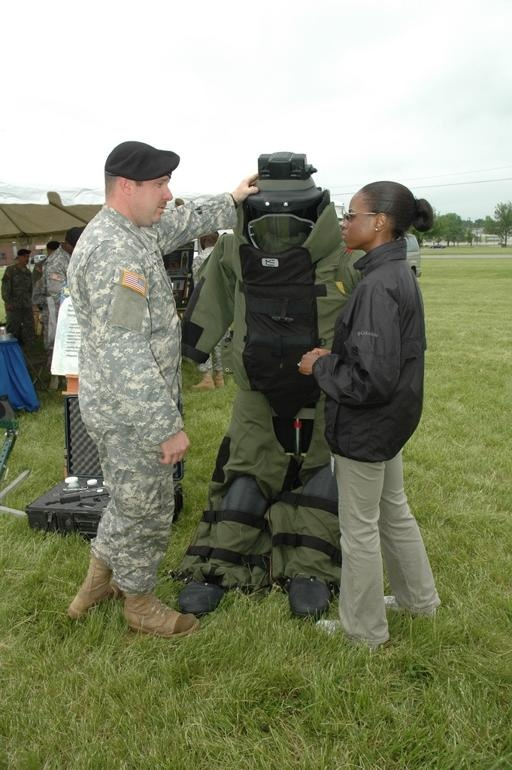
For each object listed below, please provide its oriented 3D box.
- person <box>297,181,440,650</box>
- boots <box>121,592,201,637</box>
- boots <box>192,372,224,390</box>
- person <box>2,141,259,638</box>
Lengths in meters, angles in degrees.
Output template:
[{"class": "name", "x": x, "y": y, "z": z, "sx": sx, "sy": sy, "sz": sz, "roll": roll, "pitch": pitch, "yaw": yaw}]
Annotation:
[{"class": "person", "x": 0.418, "y": 0.118, "z": 2.171, "sx": 0.403, "sy": 1.687, "sz": 0.520, "roll": 5, "pitch": 10, "yaw": 32}, {"class": "boots", "x": -0.360, "y": 0.891, "z": 2.362, "sx": 0.331, "sy": 0.213, "sz": 0.136, "roll": 1, "pitch": 10, "yaw": -5}, {"class": "boots", "x": -0.628, "y": -0.055, "z": 7.161, "sx": 0.440, "sy": 0.300, "sz": 0.149, "roll": 2, "pitch": 3, "yaw": -6}, {"class": "person", "x": -0.491, "y": 0.054, "z": 2.249, "sx": 0.497, "sy": 1.843, "sz": 0.751, "roll": -2, "pitch": 9, "yaw": -7}]
